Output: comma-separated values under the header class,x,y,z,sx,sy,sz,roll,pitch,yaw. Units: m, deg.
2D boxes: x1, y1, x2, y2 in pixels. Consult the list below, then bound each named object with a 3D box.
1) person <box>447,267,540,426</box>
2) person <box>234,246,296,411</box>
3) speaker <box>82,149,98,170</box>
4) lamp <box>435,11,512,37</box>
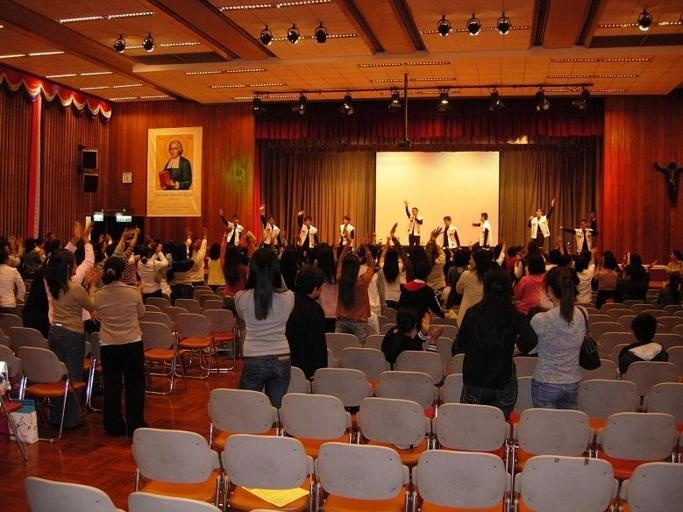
class,x,y,z,sx,sy,sz,roll,pitch,yaw
person,1.339,0.998,4.802,0.630,1.902,0.669,8,25,25
person,-0.673,0.640,4.846,0.498,1.413,0.270,0,2,-14
speaker,-8.224,-3.117,18.044,0.440,0.619,0.278,0,2,-27
lamp,2.698,-4.611,11.341,1.446,0.473,0.996,1,2,12
